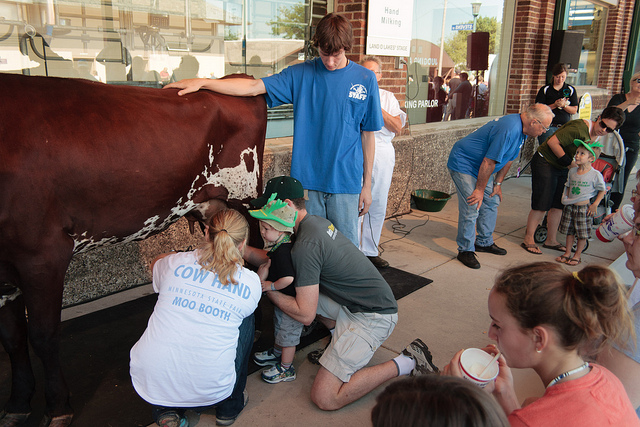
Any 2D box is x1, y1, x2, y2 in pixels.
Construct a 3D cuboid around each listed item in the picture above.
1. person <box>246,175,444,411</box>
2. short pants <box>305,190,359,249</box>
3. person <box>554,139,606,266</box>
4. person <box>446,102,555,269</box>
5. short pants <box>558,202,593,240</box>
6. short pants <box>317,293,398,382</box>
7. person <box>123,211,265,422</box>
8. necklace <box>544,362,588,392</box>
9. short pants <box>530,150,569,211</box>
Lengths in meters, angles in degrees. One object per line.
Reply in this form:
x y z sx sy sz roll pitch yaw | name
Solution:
0.111 0.511 3.187 0.942 1.484 1.420 -6 6 -37 | person
0.065 0.005 3.931 0.330 0.743 0.233 2 42 5 | short pants
2.990 -0.109 4.781 0.379 1.390 0.416 8 23 15 | person
2.023 -0.383 4.927 0.825 1.802 0.822 -2 22 -9 | person
3.042 0.041 4.973 0.217 0.376 0.364 -13 19 -31 | short pants
0.276 0.864 2.979 0.476 0.222 0.761 -18 22 5 | short pants
-0.785 0.686 2.696 0.657 1.102 0.827 21 37 -3 | person
1.060 0.680 1.802 0.110 0.121 0.030 10 46 -58 | necklace
2.866 -0.403 5.243 0.443 0.689 0.436 9 23 17 | short pants
